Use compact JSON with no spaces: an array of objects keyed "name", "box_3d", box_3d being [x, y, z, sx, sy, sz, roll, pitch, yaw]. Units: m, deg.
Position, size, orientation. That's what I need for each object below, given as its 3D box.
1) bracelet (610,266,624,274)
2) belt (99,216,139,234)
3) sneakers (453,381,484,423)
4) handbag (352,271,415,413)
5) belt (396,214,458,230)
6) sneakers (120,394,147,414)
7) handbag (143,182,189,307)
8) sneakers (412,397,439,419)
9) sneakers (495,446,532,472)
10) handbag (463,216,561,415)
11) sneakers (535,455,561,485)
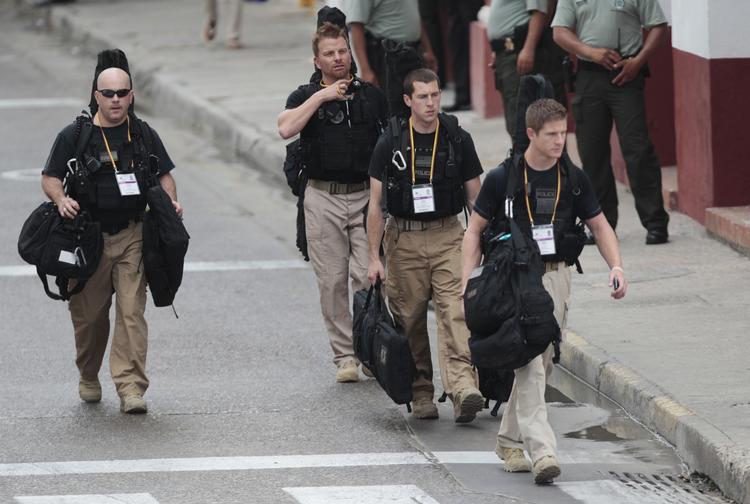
[{"name":"bracelet","box_3d":[1.734,0.125,8.926,0.066,0.043,0.063,1,3,7]},{"name":"belt","box_3d":[-2.065,-0.215,10.099,0.151,0.070,0.199,-7,6,7]},{"name":"sneakers","box_3d":[0.718,1.143,9.618,0.156,0.341,0.166,1,49,-6]},{"name":"handbag","box_3d":[0.062,0.666,9.747,0.316,0.835,0.681,-8,17,-17]},{"name":"belt","box_3d":[0.397,-0.225,9.911,0.243,0.086,0.205,-1,8,13]},{"name":"sneakers","box_3d":[-1.912,1.179,9.959,0.214,0.161,0.189,-5,16,-10]},{"name":"handbag","box_3d":[-1.687,-0.037,10.093,0.371,0.996,0.227,-6,17,-12]},{"name":"sneakers","box_3d":[0.402,1.224,9.859,0.116,0.107,0.235,0,-3,-16]},{"name":"sneakers","box_3d":[0.979,1.453,8.968,0.114,0.112,0.275,-2,13,-19]},{"name":"handbag","box_3d":[0.950,0.296,8.738,0.618,0.953,0.523,6,18,27]},{"name":"sneakers","box_3d":[1.182,1.483,8.642,0.169,0.228,0.197,-2,16,4]}]
